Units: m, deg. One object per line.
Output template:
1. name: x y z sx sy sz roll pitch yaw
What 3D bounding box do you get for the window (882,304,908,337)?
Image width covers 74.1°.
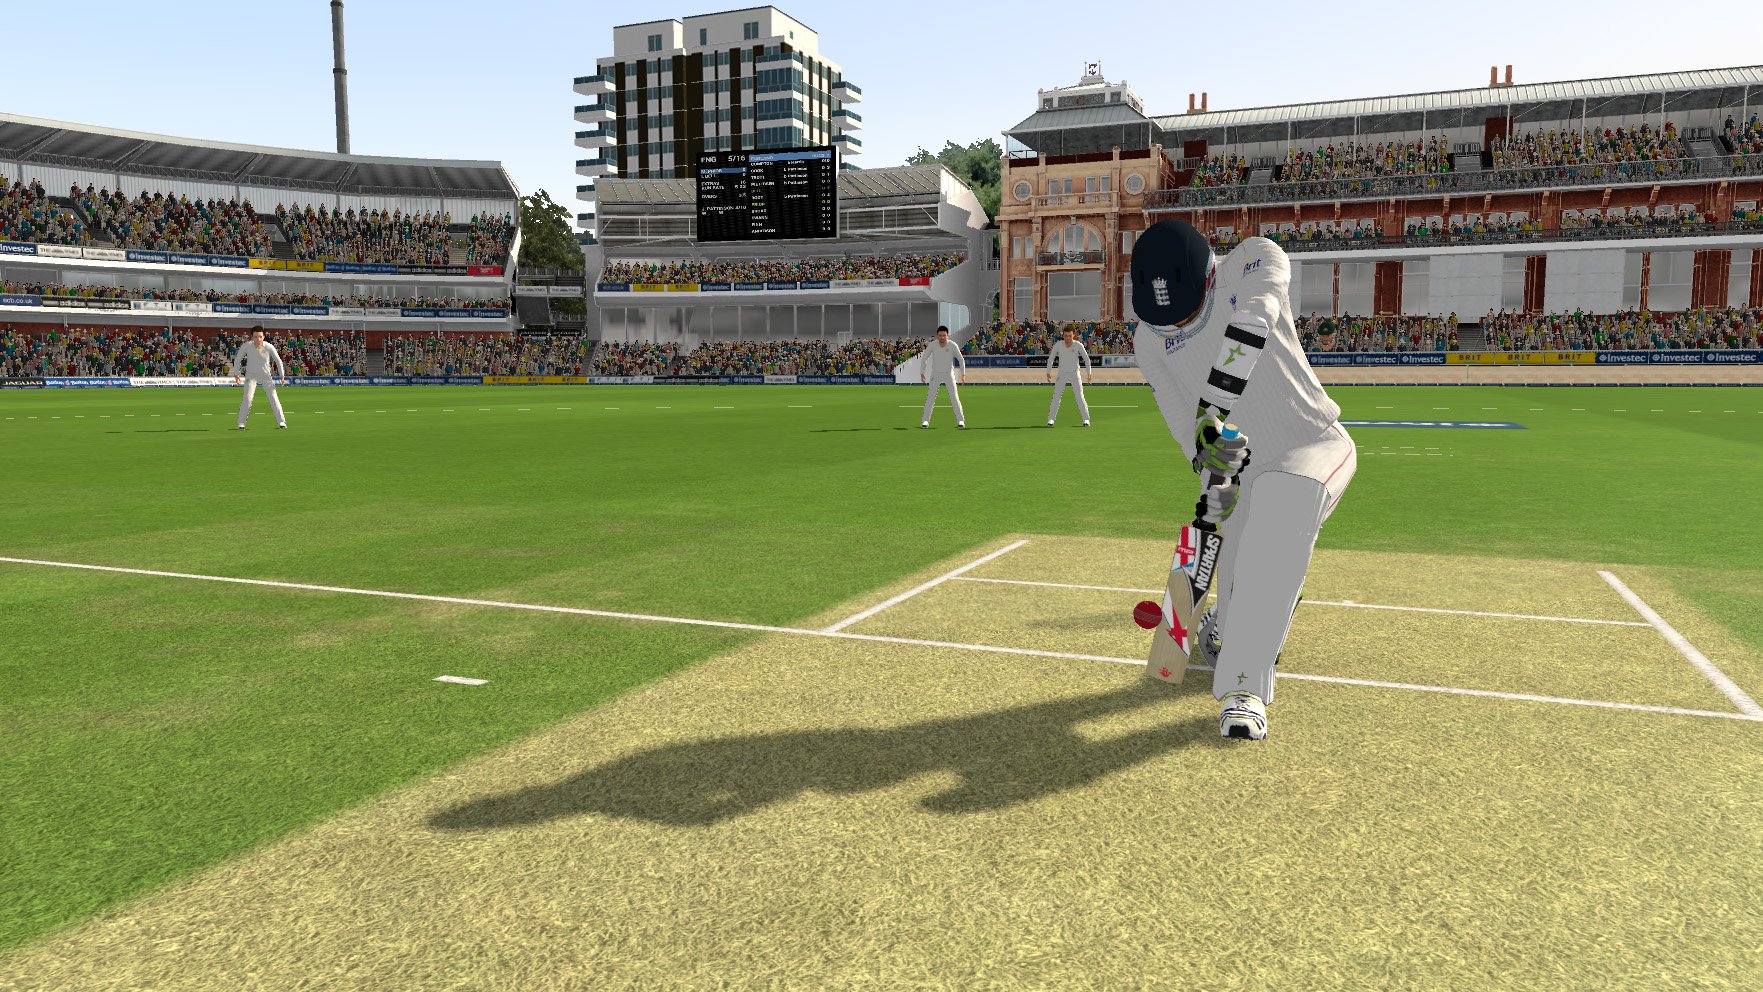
1. window: 0.785 -9.061 59.083 1.957 1.463 0.418 1 7 29

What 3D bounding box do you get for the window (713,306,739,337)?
1. window: -8.012 -9.297 61.692 1.898 1.386 0.409 6 1 18

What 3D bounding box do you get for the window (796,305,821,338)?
1. window: -3.549 -9.223 60.368 2.132 1.916 0.242 1 1 5

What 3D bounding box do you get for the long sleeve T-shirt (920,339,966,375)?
1. long sleeve T-shirt: 1.202 -2.626 22.142 0.638 0.832 1.414 0 12 4

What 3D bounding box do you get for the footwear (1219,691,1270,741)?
1. footwear: 2.085 1.274 6.750 0.258 0.266 0.149 2 14 14
